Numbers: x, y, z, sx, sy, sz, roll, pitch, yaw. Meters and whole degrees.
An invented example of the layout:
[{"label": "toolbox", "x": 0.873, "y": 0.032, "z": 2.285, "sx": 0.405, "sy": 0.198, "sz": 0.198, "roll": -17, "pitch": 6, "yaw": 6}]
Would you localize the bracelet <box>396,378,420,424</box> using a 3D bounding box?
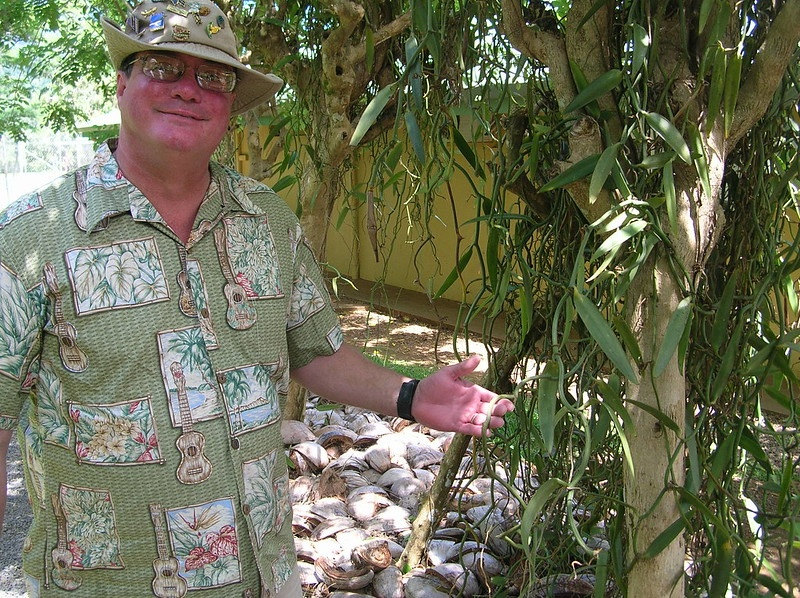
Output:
[{"label": "bracelet", "x": 0.024, "y": 0.228, "z": 1.711, "sx": 0.054, "sy": 0.095, "sz": 0.083, "roll": 3, "pitch": -28, "yaw": 15}]
